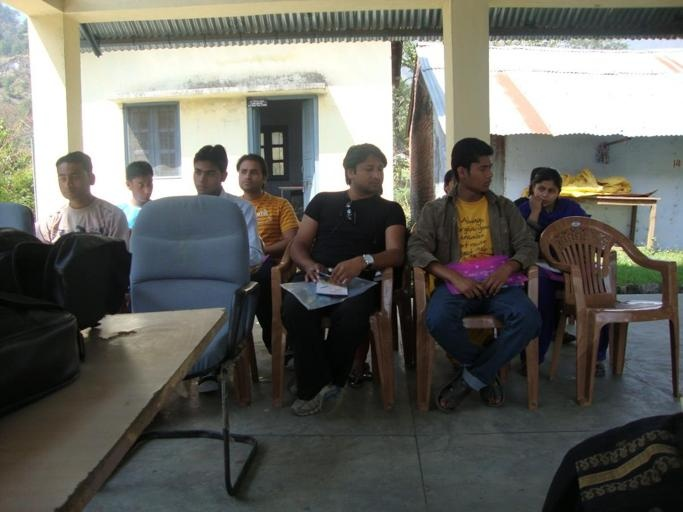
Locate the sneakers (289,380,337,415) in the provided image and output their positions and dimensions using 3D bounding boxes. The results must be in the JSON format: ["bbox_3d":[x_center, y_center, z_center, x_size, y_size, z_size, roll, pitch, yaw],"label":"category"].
[{"bbox_3d":[-0.142,0.817,3.217,0.112,0.148,0.333,3,3,37],"label":"sneakers"}]

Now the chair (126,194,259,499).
[{"bbox_3d":[-0.833,0.416,2.810,0.794,1.385,0.843,-1,6,-6],"label":"chair"}]

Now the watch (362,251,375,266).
[{"bbox_3d":[0.148,0.017,3.326,0.045,0.076,0.074,1,48,-12],"label":"watch"}]

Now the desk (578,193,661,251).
[{"bbox_3d":[4.095,-0.620,8.268,1.090,1.071,1.118,-2,6,-6],"label":"desk"}]

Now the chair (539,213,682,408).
[{"bbox_3d":[1.700,0.290,3.484,0.836,1.020,0.780,-1,10,-2],"label":"chair"}]

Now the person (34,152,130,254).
[{"bbox_3d":[-1.879,-0.423,4.088,0.715,0.668,0.398,8,13,38],"label":"person"}]

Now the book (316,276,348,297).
[{"bbox_3d":[-0.055,0.185,3.137,0.195,0.065,0.147,5,12,27],"label":"book"}]

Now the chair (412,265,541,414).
[{"bbox_3d":[0.779,0.453,3.306,0.719,0.785,0.499,0,11,0],"label":"chair"}]

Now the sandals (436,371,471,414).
[{"bbox_3d":[0.655,0.757,3.158,0.256,0.228,0.111,-9,13,-38],"label":"sandals"}]

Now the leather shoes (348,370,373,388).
[{"bbox_3d":[0.118,0.782,3.588,0.064,0.082,0.186,2,4,30],"label":"leather shoes"}]

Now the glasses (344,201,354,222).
[{"bbox_3d":[0.043,-0.278,3.579,0.072,0.104,0.036,-3,-3,18],"label":"glasses"}]

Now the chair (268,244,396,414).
[{"bbox_3d":[-0.065,0.445,3.401,0.720,0.811,0.651,0,10,1],"label":"chair"}]

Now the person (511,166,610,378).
[{"bbox_3d":[1.727,-0.011,4.354,0.655,1.177,0.646,-12,-5,0],"label":"person"}]
